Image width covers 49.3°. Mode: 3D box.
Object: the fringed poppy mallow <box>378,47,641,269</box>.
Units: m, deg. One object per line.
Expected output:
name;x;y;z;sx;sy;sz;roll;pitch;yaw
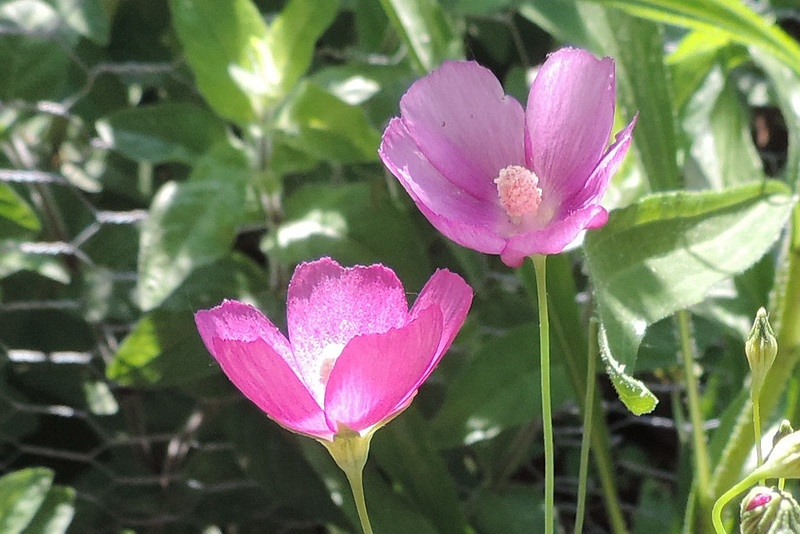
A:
fringed poppy mallow;0.061;-0.048;0.518;0.149;0.157;0.087;3;59;-26
